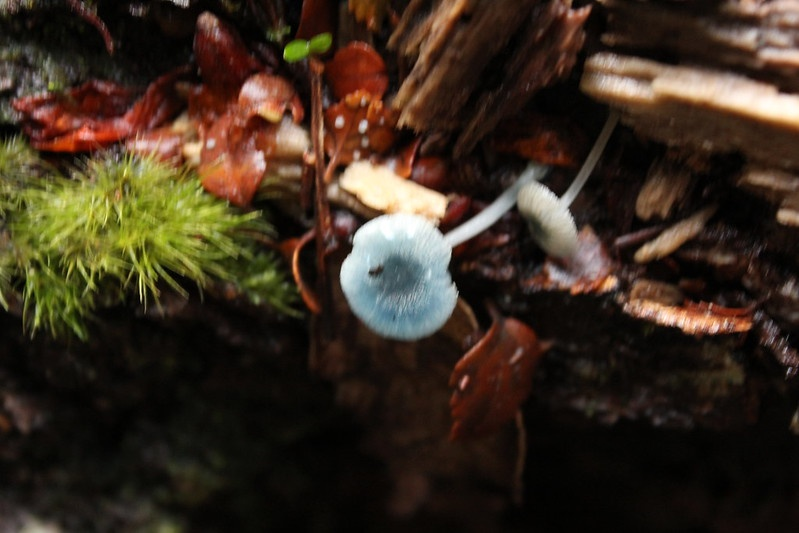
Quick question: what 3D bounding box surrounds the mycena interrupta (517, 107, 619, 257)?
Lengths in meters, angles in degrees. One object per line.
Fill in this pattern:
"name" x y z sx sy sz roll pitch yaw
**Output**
"mycena interrupta" 0.550 -0.288 2.458 0.195 0.193 0.417 21 58 40
